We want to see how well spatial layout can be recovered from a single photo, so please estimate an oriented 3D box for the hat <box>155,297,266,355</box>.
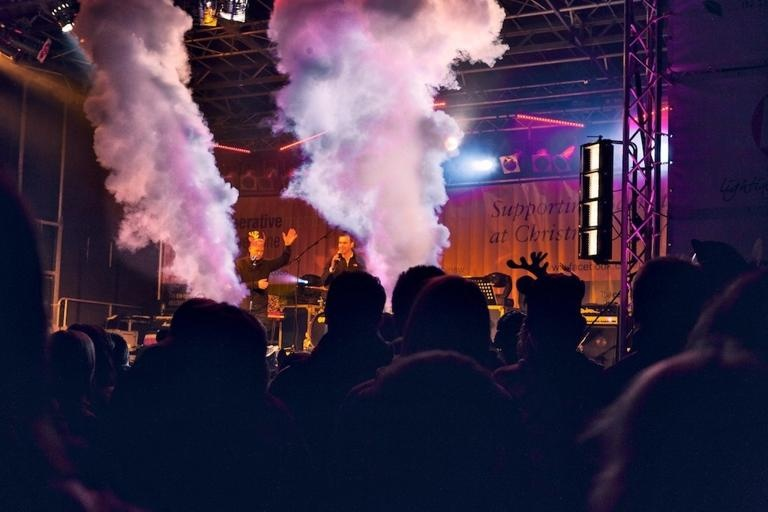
[{"bbox_3d":[-1.532,0.587,7.532,0.983,0.490,0.701,1,3,-19],"label":"hat"}]
